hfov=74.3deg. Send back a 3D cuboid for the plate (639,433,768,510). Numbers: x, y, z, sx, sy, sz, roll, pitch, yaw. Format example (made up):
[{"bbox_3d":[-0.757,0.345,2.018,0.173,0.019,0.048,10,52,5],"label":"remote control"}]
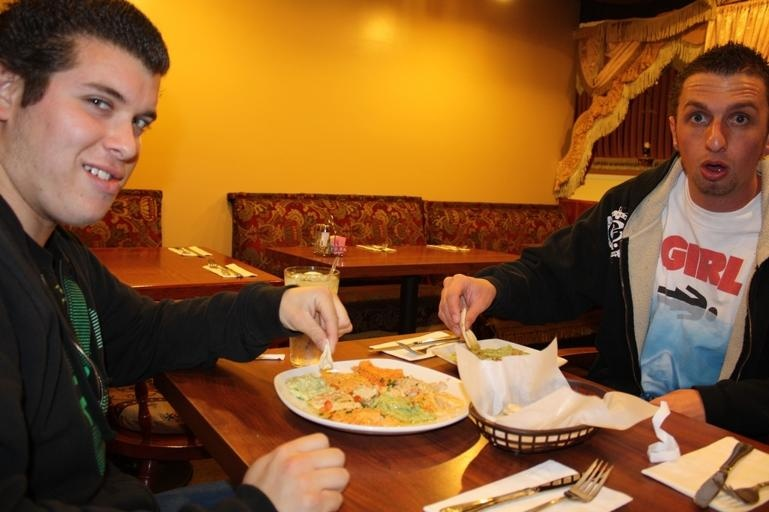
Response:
[{"bbox_3d":[0.677,0.451,1.048,0.121,0.016,0.140,5,14,45],"label":"plate"}]

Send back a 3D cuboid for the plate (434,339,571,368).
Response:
[{"bbox_3d":[0.297,0.292,1.584,0.230,0.031,0.197,-1,1,-31],"label":"plate"}]

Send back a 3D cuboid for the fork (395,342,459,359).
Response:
[{"bbox_3d":[0.154,0.309,1.715,0.051,0.048,0.335,4,-4,37],"label":"fork"}]
